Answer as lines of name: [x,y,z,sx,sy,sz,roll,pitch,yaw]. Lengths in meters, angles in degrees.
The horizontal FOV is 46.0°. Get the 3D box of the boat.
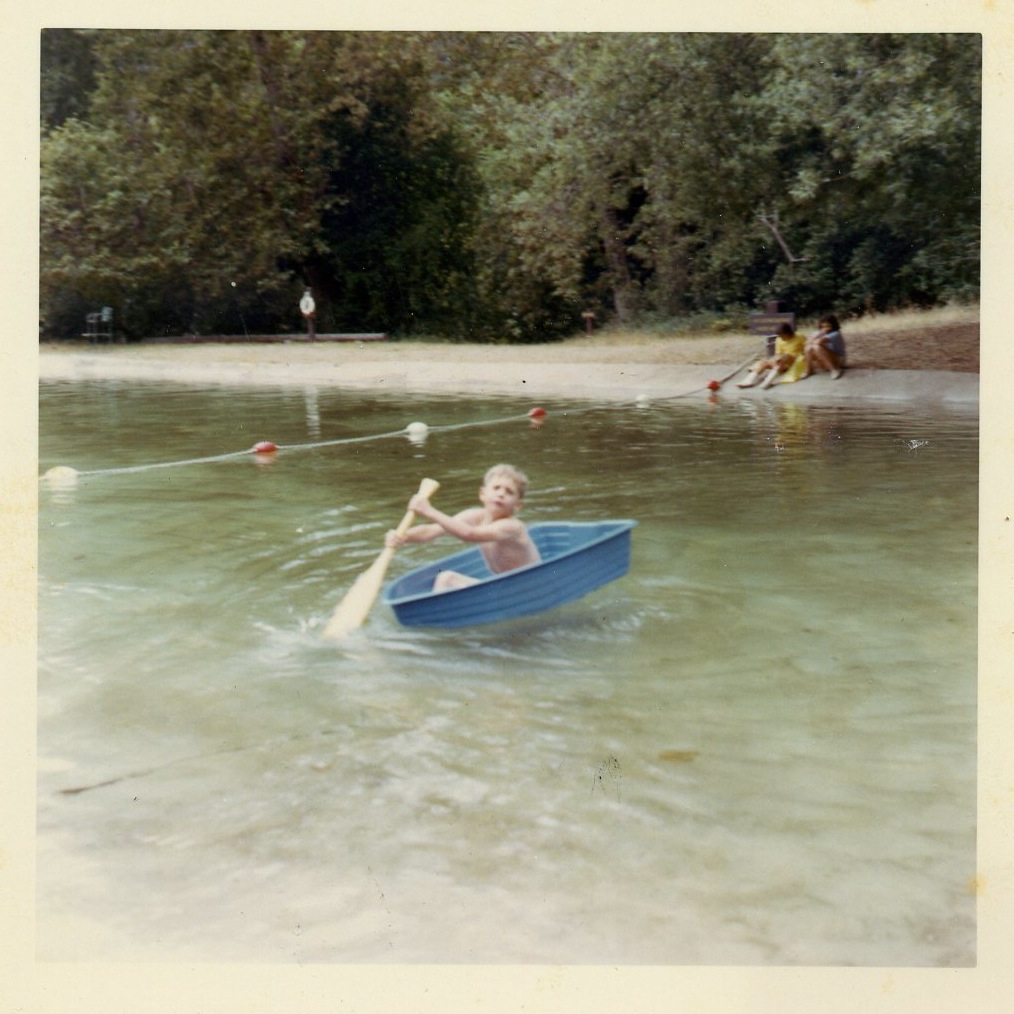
boat: [0.094,0.418,6.687,1.356,0.269,0.659,-15,18,-33]

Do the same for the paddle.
paddle: [-0.660,0.198,7.198,0.271,0.122,1.698,27,34,2]

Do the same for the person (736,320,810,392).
person: [4.431,-2.478,19.734,1.041,1.030,0.771,-2,8,13]

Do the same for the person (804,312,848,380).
person: [5.269,-2.649,19.746,0.617,1.017,1.006,-2,8,15]

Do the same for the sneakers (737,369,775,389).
sneakers: [4.107,-2.130,20.237,0.217,0.180,0.667,-18,2,-13]
